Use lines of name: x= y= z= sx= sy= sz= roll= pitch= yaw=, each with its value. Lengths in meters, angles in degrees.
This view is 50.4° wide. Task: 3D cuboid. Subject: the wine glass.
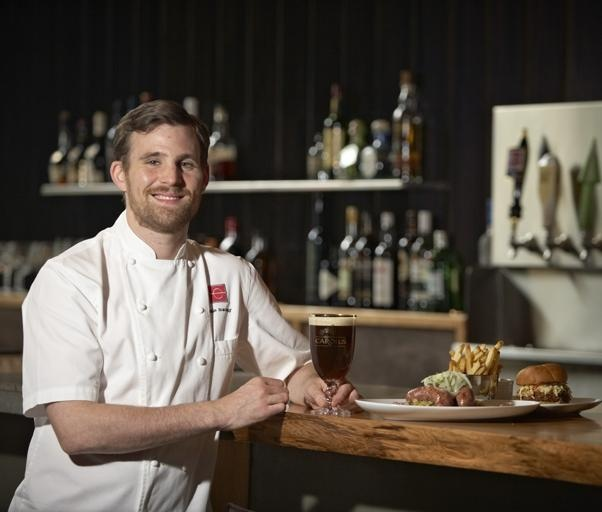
wine glass: x=0.062 y=0.199 z=1.286 sx=0.085 sy=0.229 sz=0.074 roll=3 pitch=4 yaw=-12

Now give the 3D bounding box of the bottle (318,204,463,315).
bottle: x=0.456 y=0.030 z=3.072 sx=0.427 sy=0.393 sz=0.099 roll=-1 pitch=-10 yaw=16

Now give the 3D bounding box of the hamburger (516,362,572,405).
hamburger: x=0.490 y=0.263 z=1.294 sx=0.096 sy=0.086 sz=0.114 roll=2 pitch=-9 yaw=-16

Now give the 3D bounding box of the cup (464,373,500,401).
cup: x=0.361 y=0.261 z=1.261 sx=0.042 sy=0.043 sz=0.054 roll=0 pitch=-2 yaw=-3
